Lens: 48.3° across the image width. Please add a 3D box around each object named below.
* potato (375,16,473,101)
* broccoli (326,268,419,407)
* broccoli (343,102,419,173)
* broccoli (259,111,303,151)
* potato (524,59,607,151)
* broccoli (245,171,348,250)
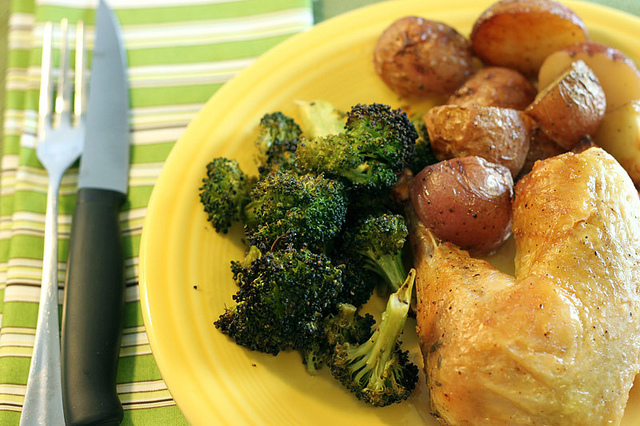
[{"bbox_3d":[0.453,-0.657,3.072,0.350,0.360,0.197,36,3,4],"label":"potato"},{"bbox_3d":[0.256,0.443,2.691,0.325,0.538,0.293,15,29,-14],"label":"broccoli"},{"bbox_3d":[0.235,-0.352,2.927,0.258,0.301,0.255,-27,23,-39],"label":"broccoli"},{"bbox_3d":[-0.171,-0.349,3.047,0.130,0.184,0.081,5,-11,-4],"label":"broccoli"},{"bbox_3d":[1.020,-0.465,3.039,0.311,0.320,0.177,41,7,-6],"label":"potato"},{"bbox_3d":[-0.092,-0.019,2.758,0.315,0.227,0.288,-3,27,26],"label":"broccoli"}]
